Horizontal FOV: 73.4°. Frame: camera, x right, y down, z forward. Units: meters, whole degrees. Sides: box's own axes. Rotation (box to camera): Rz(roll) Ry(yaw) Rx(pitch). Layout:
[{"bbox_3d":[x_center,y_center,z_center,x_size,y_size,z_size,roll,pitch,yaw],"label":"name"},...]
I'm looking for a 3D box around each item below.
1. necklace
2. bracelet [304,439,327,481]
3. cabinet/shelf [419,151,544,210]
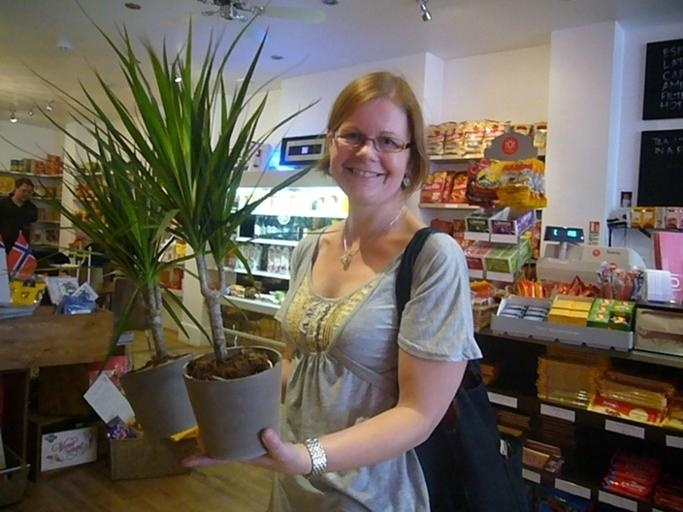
[{"bbox_3d":[0.095,-0.053,1.432,0.039,0.185,0.172,16,5,-36],"label":"necklace"},{"bbox_3d":[-0.060,0.476,1.087,0.052,0.097,0.081,11,1,-8],"label":"bracelet"},{"bbox_3d":[0.972,-0.519,3.196,0.809,0.426,0.629,6,9,29],"label":"cabinet/shelf"}]
